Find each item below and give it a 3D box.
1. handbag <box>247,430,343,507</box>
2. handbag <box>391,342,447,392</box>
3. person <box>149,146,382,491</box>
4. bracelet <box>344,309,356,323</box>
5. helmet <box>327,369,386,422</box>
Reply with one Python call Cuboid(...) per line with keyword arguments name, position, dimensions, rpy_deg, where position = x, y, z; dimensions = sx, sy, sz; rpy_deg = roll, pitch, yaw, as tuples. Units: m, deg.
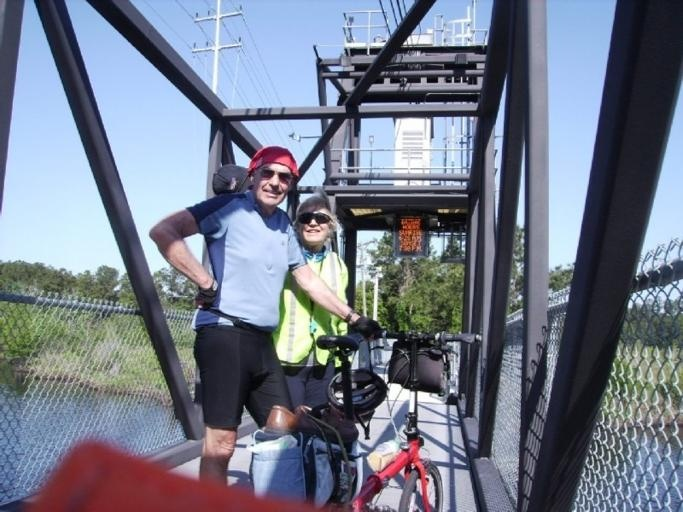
Cuboid(name="handbag", position=(-0.193, 0.874, 2.100), dimensions=(0.358, 0.314, 0.188), rpy_deg=(1, 2, -8))
Cuboid(name="handbag", position=(0.503, 0.750, 3.451), dimensions=(0.272, 0.270, 0.276), rpy_deg=(0, -21, 11))
Cuboid(name="person", position=(-0.586, 0.225, 2.814), dimensions=(0.830, 1.736, 0.504), rpy_deg=(-1, 3, -35))
Cuboid(name="bracelet", position=(0.051, 0.367, 3.153), dimensions=(0.016, 0.061, 0.061), rpy_deg=(31, -50, -14))
Cuboid(name="helmet", position=(0.086, 0.680, 2.672), dimensions=(0.241, 0.098, 0.265), rpy_deg=(15, 36, 29))
